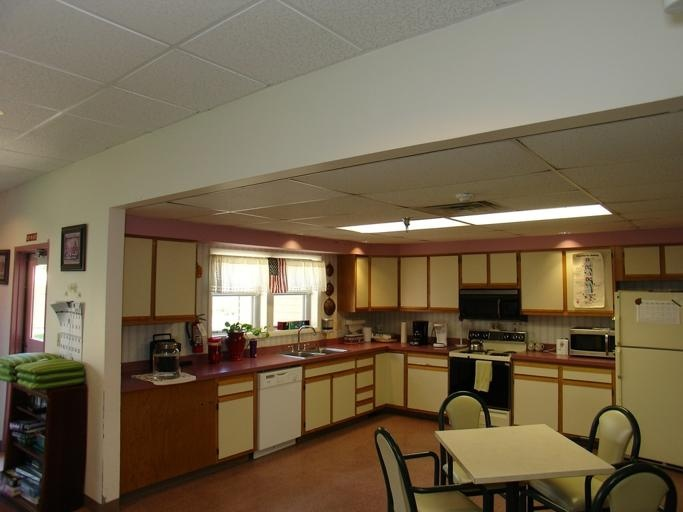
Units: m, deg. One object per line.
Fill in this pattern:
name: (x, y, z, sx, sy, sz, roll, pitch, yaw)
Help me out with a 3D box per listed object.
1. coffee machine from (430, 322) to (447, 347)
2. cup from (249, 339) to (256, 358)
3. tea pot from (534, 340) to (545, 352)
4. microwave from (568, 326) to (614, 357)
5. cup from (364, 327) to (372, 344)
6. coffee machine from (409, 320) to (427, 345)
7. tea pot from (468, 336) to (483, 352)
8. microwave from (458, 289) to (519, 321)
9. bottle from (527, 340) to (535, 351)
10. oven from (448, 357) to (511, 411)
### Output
coffee machine: (1.434, 1.168, 7.270, 0.250, 0.339, 0.529, -1, -6, 11)
cup: (-1.104, 1.144, 6.077, 0.077, 0.222, 0.115, 1, -5, -10)
tea pot: (2.635, 1.218, 6.557, 0.124, 0.109, 0.087, 1, -7, 30)
microwave: (3.053, 1.045, 5.970, 0.498, 0.315, 0.334, -4, -8, 38)
cup: (0.415, 1.232, 7.680, 0.123, 0.222, 0.324, -1, -5, 10)
coffee machine: (1.179, 1.166, 7.440, 0.234, 0.369, 0.255, -1, -5, 12)
tea pot: (1.849, 1.238, 6.773, 0.172, 0.169, 0.127, 1, -1, -18)
microwave: (2.057, 0.683, 6.758, 0.707, 0.447, 0.455, 0, 0, 38)
bottle: (2.552, 1.220, 6.616, 0.082, 0.110, 0.036, 7, -10, 18)
oven: (1.791, 1.630, 6.528, 0.875, 0.847, 0.600, -4, -11, 35)
